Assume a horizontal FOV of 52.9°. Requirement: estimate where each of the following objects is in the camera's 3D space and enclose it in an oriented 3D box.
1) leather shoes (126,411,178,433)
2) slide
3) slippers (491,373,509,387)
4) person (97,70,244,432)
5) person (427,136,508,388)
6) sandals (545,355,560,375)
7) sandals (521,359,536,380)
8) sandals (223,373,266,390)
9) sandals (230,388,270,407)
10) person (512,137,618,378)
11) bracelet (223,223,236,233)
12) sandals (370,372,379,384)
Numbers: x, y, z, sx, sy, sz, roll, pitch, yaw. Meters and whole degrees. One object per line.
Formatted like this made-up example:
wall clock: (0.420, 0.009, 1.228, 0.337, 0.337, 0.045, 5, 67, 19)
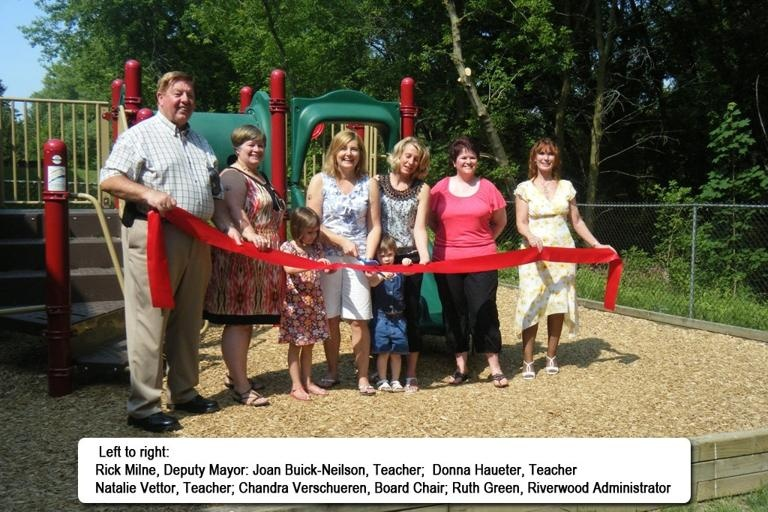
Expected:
leather shoes: (-2.114, 1.502, 7.061, 0.468, 0.173, 0.182, -1, -1, 8)
slide: (-0.192, 0.026, 7.761, 0.769, 0.907, 3.058, -10, 27, -3)
slippers: (1.228, 1.296, 8.174, 0.189, 0.131, 0.230, 5, 15, 8)
person: (-1.949, -0.045, 7.037, 1.025, 3.156, 0.803, -9, 19, -40)
person: (0.920, 0.079, 8.185, 1.055, 2.574, 0.745, 10, 16, 24)
sandals: (1.866, 1.215, 8.589, 0.203, 0.143, 0.551, -2, -3, 6)
sandals: (1.573, 1.239, 8.413, 0.174, 0.158, 0.459, -2, -7, 7)
sandals: (-1.409, 1.281, 7.942, 0.447, 0.145, 0.163, -1, 3, 2)
sandals: (-1.305, 1.378, 7.529, 0.314, 0.095, 0.163, 3, 5, 27)
person: (1.788, 0.053, 8.398, 0.864, 2.559, 0.829, 7, 15, 13)
bracelet: (-1.448, -0.254, 7.182, 0.085, 0.077, 0.019, -2, -13, 18)
sandals: (-0.102, 1.293, 8.190, 0.109, 0.124, 0.306, 1, -10, -5)
